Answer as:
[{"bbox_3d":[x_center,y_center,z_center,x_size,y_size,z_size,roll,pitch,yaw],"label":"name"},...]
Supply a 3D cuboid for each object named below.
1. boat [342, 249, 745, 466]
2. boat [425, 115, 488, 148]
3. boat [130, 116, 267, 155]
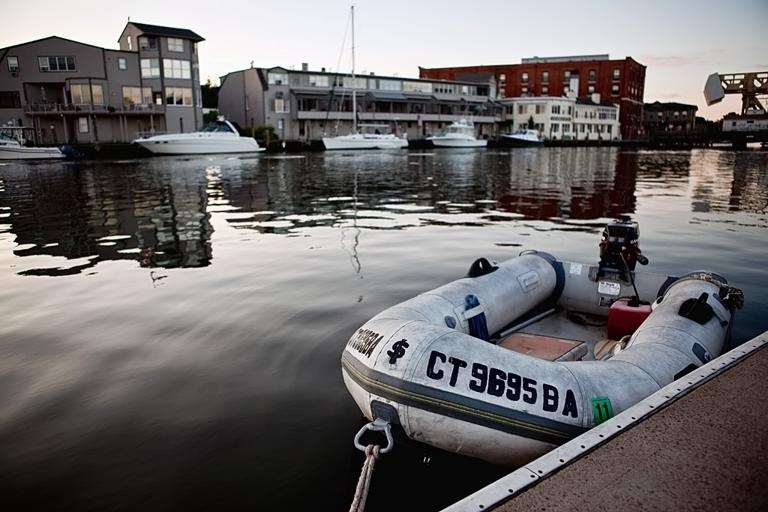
[{"bbox_3d":[1.733,0.967,5.320,4.167,1.452,2.427,-12,16,-38],"label":"boat"},{"bbox_3d":[9.876,-14.768,59.062,3.785,3.535,8.431,21,27,41],"label":"boat"},{"bbox_3d":[-14.797,-10.025,42.936,12.582,3.726,3.546,-6,21,-30],"label":"boat"}]
